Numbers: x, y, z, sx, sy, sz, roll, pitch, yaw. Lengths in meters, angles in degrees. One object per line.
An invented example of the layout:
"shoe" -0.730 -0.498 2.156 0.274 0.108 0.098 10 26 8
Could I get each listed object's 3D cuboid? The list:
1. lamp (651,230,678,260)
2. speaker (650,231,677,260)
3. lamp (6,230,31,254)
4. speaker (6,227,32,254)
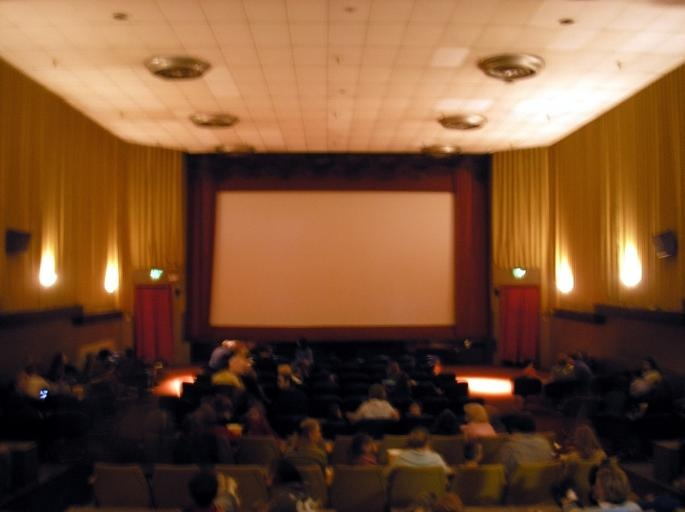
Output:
"lamp" 7.156 -0.265 12.559 0.240 0.511 0.513 -3 -3 -13
"speaker" 7.153 -0.245 12.587 0.361 0.630 0.607 -6 7 -25
"lamp" -7.133 -0.287 12.362 0.125 0.457 0.523 3 3 27
"speaker" -7.136 -0.313 12.386 0.130 0.462 0.532 3 2 29
